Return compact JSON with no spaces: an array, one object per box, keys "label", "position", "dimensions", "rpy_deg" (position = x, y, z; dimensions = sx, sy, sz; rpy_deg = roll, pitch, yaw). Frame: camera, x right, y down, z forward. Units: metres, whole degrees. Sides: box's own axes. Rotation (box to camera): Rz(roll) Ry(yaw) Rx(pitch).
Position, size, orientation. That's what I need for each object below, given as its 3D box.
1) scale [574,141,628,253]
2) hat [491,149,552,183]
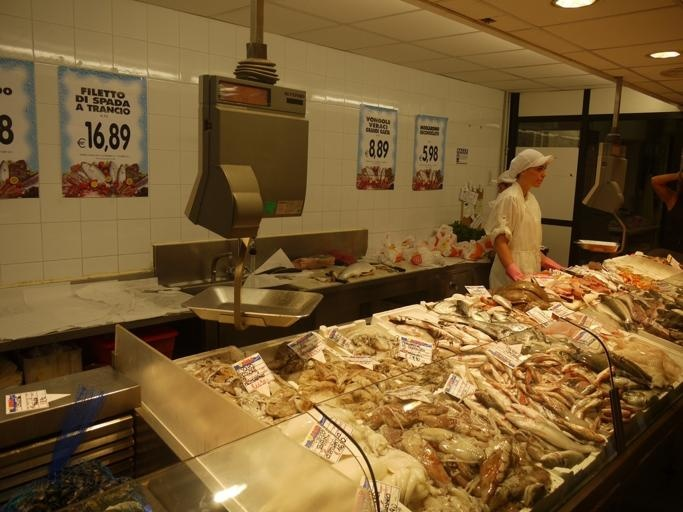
[{"label":"scale","position":[2.001,-0.530,3.550],"dimensions":[0.324,0.957,0.263],"rpy_deg":[5,8,39]},{"label":"hat","position":[1.606,-0.794,4.168],"dimensions":[0.187,0.317,0.487],"rpy_deg":[-8,17,-36]}]
